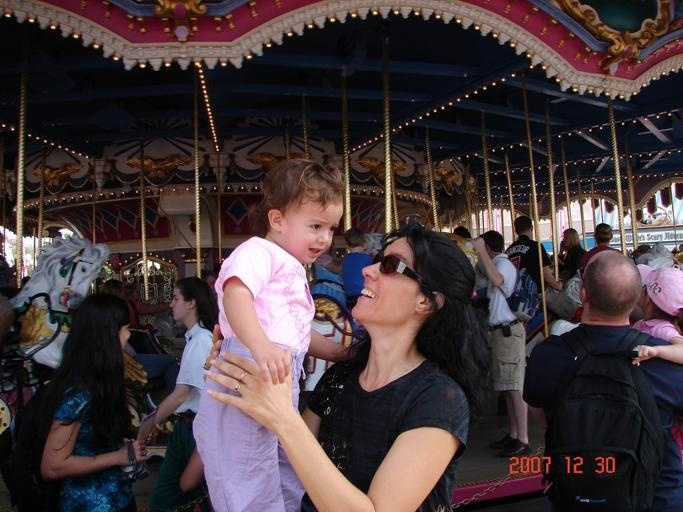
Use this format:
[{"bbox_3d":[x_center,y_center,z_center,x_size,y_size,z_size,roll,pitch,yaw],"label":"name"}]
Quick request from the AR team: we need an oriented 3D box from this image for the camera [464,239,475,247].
[{"bbox_3d":[1.218,-0.119,5.439,0.078,0.104,0.079,-1,39,9],"label":"camera"}]

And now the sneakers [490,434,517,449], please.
[{"bbox_3d":[1.415,1.633,4.990,0.239,0.101,0.087,-10,5,7],"label":"sneakers"}]

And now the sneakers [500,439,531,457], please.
[{"bbox_3d":[1.472,1.646,4.893,0.295,0.130,0.108,-1,-4,-7],"label":"sneakers"}]

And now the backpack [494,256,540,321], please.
[{"bbox_3d":[1.713,0.328,5.550,0.374,0.640,0.455,6,-7,27],"label":"backpack"}]
